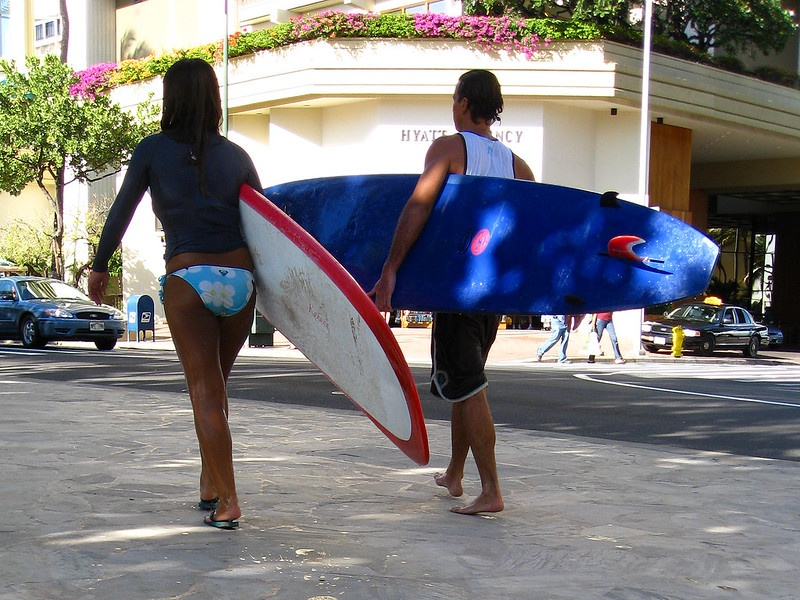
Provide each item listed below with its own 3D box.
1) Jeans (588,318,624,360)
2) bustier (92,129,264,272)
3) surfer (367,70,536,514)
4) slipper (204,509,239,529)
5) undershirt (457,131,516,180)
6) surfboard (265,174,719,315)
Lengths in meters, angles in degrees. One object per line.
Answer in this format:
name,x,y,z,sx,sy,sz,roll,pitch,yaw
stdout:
Jeans,4.326,0.775,17.456,0.714,1.186,2.345,1,5,15
bustier,-1.148,-0.525,4.331,0.758,0.713,0.717,-9,9,-32
surfer,0.356,-0.054,4.863,0.818,2.469,1.111,1,0,23
slipper,-0.872,1.056,4.036,0.170,0.088,0.142,-2,5,-12
undershirt,0.501,-0.799,4.679,0.242,0.277,0.256,-8,13,-37
surfboard,0.752,-0.349,5.071,3.463,0.852,0.537,4,6,0
